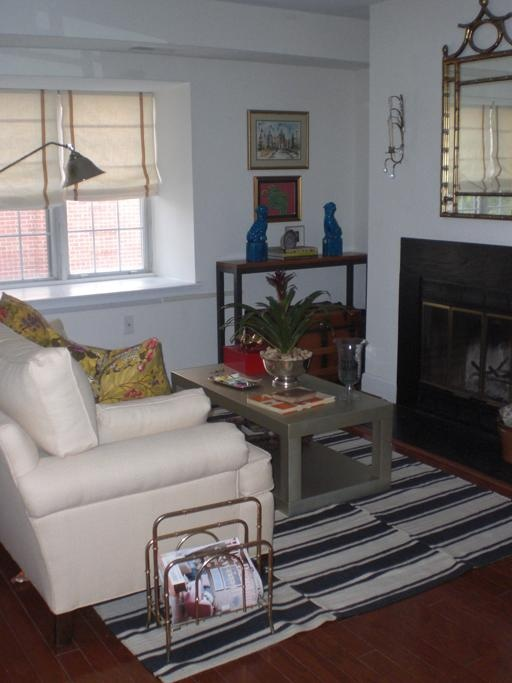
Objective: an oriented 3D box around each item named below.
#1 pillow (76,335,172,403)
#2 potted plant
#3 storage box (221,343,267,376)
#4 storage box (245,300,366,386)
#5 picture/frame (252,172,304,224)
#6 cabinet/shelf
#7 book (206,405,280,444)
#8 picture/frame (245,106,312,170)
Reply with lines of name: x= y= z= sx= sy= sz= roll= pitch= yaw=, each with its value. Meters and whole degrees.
pillow: x=-0.512 y=0.158 z=2.218 sx=0.322 sy=0.093 sz=0.303 roll=-17 pitch=41 yaw=2
potted plant: x=0.206 y=-0.309 z=3.779 sx=0.920 sy=0.327 sz=0.786 roll=-2 pitch=54 yaw=2
storage box: x=-0.076 y=0.064 z=3.175 sx=0.164 sy=0.107 sz=0.230 roll=-4 pitch=10 yaw=-32
storage box: x=0.326 y=-0.023 z=4.715 sx=0.615 sy=0.647 sz=1.027 roll=18 pitch=4 yaw=18
picture/frame: x=0.154 y=-1.158 z=4.697 sx=0.512 sy=0.412 sz=0.036 roll=-5 pitch=9 yaw=-32
cabinet/shelf: x=0.215 y=-0.241 z=4.007 sx=0.901 sy=0.765 sz=0.254 roll=-8 pitch=19 yaw=-23
book: x=-0.070 y=0.485 z=3.271 sx=0.309 sy=0.072 sz=0.318 roll=14 pitch=15 yaw=43
picture/frame: x=0.183 y=-1.596 z=4.656 sx=0.576 sy=0.448 sz=0.028 roll=13 pitch=26 yaw=32
